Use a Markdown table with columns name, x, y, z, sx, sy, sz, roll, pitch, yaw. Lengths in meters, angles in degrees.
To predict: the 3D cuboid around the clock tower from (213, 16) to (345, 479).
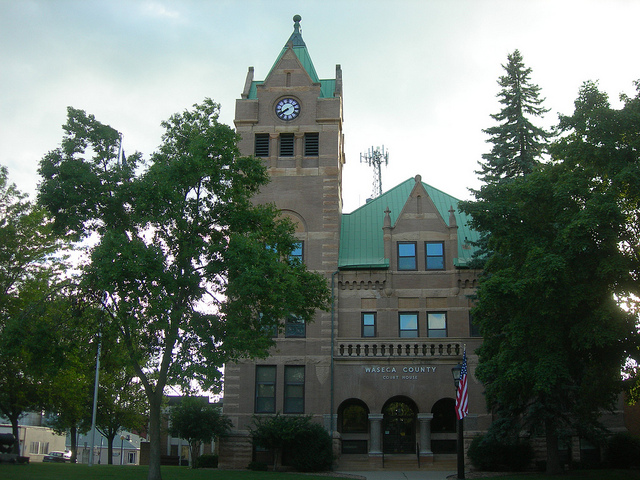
| name | x | y | z | sx | sy | sz | roll | pitch | yaw |
| --- | --- | --- | --- | --- | --- | --- | --- | --- | --- |
| clock tower | -1.928 | -0.233 | 60.971 | 6.592 | 29.256 | 1.638 | 0 | -17 | 3 |

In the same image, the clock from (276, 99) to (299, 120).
| name | x | y | z | sx | sy | sz | roll | pitch | yaw |
| --- | --- | --- | --- | --- | --- | --- | --- | --- | --- |
| clock | -2.238 | -8.550 | 62.997 | 1.429 | 1.455 | 0.103 | 3 | -23 | 2 |
